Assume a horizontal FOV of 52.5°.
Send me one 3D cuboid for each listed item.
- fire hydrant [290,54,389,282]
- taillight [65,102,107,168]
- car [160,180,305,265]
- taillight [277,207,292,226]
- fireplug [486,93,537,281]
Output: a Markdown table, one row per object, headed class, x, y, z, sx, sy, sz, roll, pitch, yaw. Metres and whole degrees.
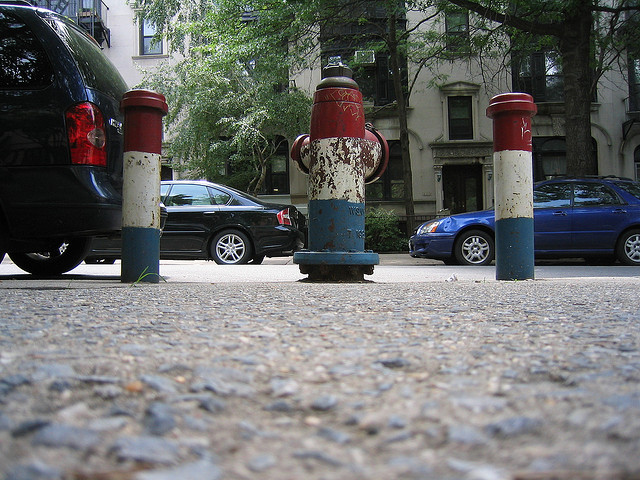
| class | x | y | z | sx | sy | sz | roll | pitch | yaw |
| --- | --- | --- | --- | --- | --- | --- | --- | --- | --- |
| fire hydrant | 0.129 | -0.468 | 4.400 | 0.714 | 1.443 | 0.504 | -3 | 8 | -19 |
| taillight | -1.641 | -0.736 | 4.556 | 0.263 | 0.451 | 0.157 | -5 | 9 | -28 |
| car | -1.126 | -0.214 | 9.924 | 2.646 | 0.907 | 1.070 | 3 | -5 | 3 |
| taillight | -0.515 | -0.326 | 9.608 | 0.185 | 0.229 | 0.370 | -1 | 11 | 6 |
| fireplug | 1.309 | -0.354 | 4.436 | 0.347 | 1.270 | 0.376 | 2 | 8 | 15 |
